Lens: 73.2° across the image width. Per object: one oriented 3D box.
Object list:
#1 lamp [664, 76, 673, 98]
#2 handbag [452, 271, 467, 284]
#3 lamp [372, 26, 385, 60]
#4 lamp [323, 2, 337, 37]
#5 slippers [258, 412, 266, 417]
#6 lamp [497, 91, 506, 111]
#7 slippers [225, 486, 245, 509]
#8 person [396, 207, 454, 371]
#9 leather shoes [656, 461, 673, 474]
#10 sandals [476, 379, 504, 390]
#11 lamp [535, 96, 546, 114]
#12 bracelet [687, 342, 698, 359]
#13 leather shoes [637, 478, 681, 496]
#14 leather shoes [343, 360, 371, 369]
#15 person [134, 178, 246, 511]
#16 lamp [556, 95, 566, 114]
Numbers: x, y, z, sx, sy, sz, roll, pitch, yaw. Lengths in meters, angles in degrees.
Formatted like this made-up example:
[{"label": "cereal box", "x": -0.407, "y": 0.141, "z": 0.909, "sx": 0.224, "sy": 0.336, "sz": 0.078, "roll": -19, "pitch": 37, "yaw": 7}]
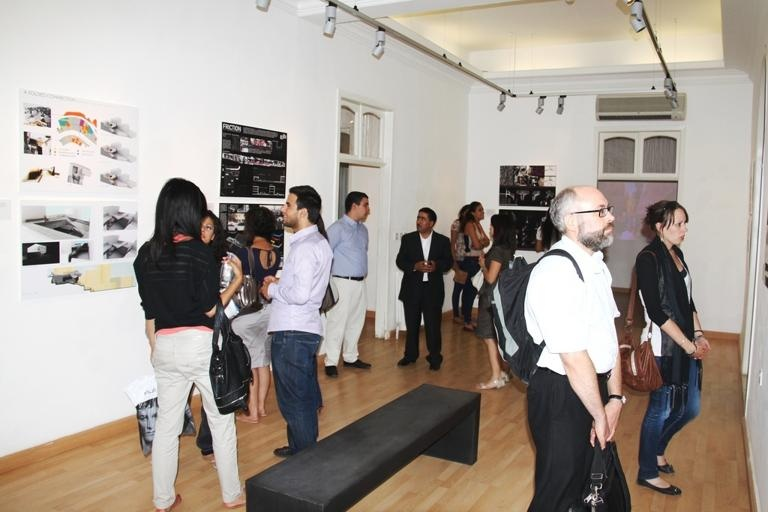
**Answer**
[{"label": "lamp", "x": 4.370, "y": -2.548, "z": 7.902, "sx": 0.120, "sy": 0.278, "sz": 0.620, "roll": 9, "pitch": 17, "yaw": 31}, {"label": "handbag", "x": 1.340, "y": 0.377, "z": 9.015, "sx": 0.308, "sy": 0.327, "sz": 0.174, "roll": 2, "pitch": -2, "yaw": 18}, {"label": "lamp", "x": -0.066, "y": -2.647, "z": 6.485, "sx": 0.125, "sy": 0.333, "sz": 0.282, "roll": 1, "pitch": 14, "yaw": 4}, {"label": "lamp", "x": -0.612, "y": -2.661, "z": 5.874, "sx": 0.140, "sy": 0.334, "sz": 0.325, "roll": -1, "pitch": 15, "yaw": -7}, {"label": "slippers", "x": -1.308, "y": 1.683, "z": 5.528, "sx": 0.080, "sy": 0.063, "sz": 0.030, "roll": 4, "pitch": 6, "yaw": 8}, {"label": "lamp", "x": 2.201, "y": -2.854, "z": 9.670, "sx": 0.145, "sy": 0.320, "sz": 0.752, "roll": 3, "pitch": 15, "yaw": 11}, {"label": "slippers", "x": -1.198, "y": 1.962, "z": 4.175, "sx": 0.098, "sy": 0.067, "sz": 0.194, "roll": 9, "pitch": 17, "yaw": 28}, {"label": "person", "x": 0.534, "y": 0.452, "z": 7.057, "sx": 0.741, "sy": 2.075, "sz": 0.704, "roll": 4, "pitch": 14, "yaw": 15}, {"label": "leather shoes", "x": 2.608, "y": 1.947, "z": 4.791, "sx": 0.088, "sy": 0.046, "sz": 0.142, "roll": -16, "pitch": 15, "yaw": -37}, {"label": "sandals", "x": 1.334, "y": 1.560, "z": 6.399, "sx": 0.252, "sy": 0.118, "sz": 0.132, "roll": 1, "pitch": 3, "yaw": 4}, {"label": "lamp", "x": 2.928, "y": -2.779, "z": 9.634, "sx": 0.156, "sy": 0.333, "sz": 0.572, "roll": 4, "pitch": 15, "yaw": 15}, {"label": "bracelet", "x": 2.509, "y": 0.762, "z": 4.194, "sx": 0.066, "sy": 0.126, "sz": 0.094, "roll": 22, "pitch": 46, "yaw": 19}, {"label": "leather shoes", "x": 2.432, "y": 2.022, "z": 4.565, "sx": 0.342, "sy": 0.101, "sz": 0.126, "roll": 0, "pitch": 7, "yaw": 32}, {"label": "leather shoes", "x": -0.372, "y": 1.462, "z": 6.954, "sx": 0.355, "sy": 0.153, "sz": 0.136, "roll": -1, "pitch": 1, "yaw": 10}, {"label": "person", "x": -1.526, "y": 0.739, "z": 3.953, "sx": 0.723, "sy": 2.570, "sz": 0.482, "roll": -4, "pitch": 14, "yaw": -17}, {"label": "lamp", "x": 3.284, "y": -2.769, "z": 9.570, "sx": 0.149, "sy": 0.348, "sz": 0.410, "roll": 5, "pitch": 15, "yaw": 18}]
